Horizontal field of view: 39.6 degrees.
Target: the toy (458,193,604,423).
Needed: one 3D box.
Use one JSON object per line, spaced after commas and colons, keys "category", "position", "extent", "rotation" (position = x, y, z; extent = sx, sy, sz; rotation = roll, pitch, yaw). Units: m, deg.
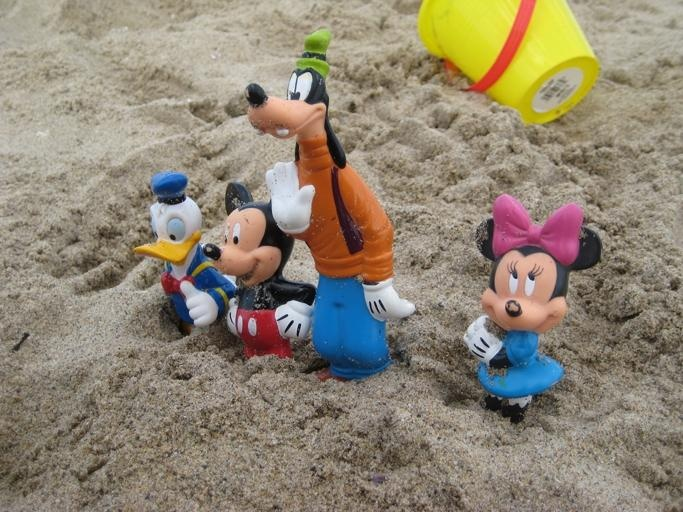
{"category": "toy", "position": [0.922, 0.270, 4.719], "extent": [0.606, 0.861, 0.660], "rotation": [11, 46, 15]}
